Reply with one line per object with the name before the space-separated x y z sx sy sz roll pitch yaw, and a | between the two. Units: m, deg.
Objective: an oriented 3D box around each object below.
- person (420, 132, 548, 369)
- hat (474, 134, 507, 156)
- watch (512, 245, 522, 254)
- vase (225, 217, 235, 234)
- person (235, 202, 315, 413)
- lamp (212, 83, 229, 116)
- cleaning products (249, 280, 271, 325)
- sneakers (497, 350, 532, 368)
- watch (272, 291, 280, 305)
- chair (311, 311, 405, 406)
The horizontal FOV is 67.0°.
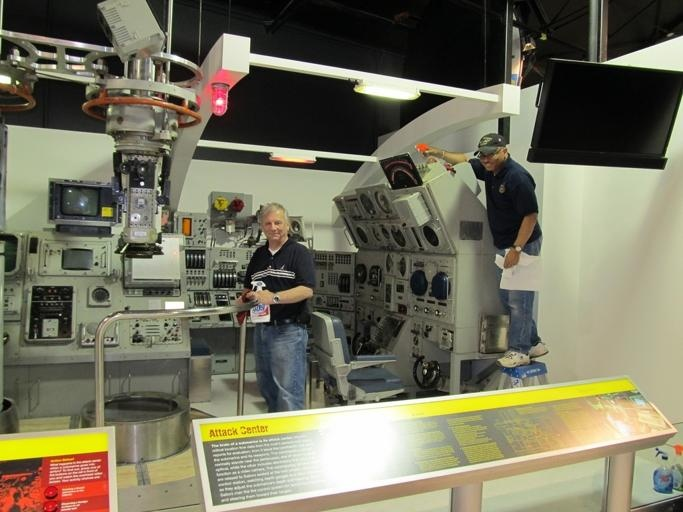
person | 1.694 -0.036 5.401 0.839 2.292 1.029 -1 -3 5
hat | 1.468 -1.085 5.073 0.303 0.181 0.208 -14 17 -39
watch | 1.740 -0.067 5.063 0.114 0.074 0.065 1 -4 -36
vase | -1.557 -0.426 7.292 0.192 0.224 0.189 6 -10 -30
person | -0.539 0.451 4.324 0.689 1.810 0.639 2 -4 -35
lamp | -1.011 -1.317 4.335 0.138 0.227 0.243 0 -3 -16
cleaning products | -0.627 0.363 4.058 0.161 0.336 0.402 0 -3 -8
sneakers | 1.696 1.024 5.127 0.339 0.151 0.124 -1 0 -14
watch | -0.509 0.342 4.024 0.050 0.080 0.074 3 -1 -17
chair | 0.074 1.010 5.462 0.962 1.107 1.011 2 -3 -27
